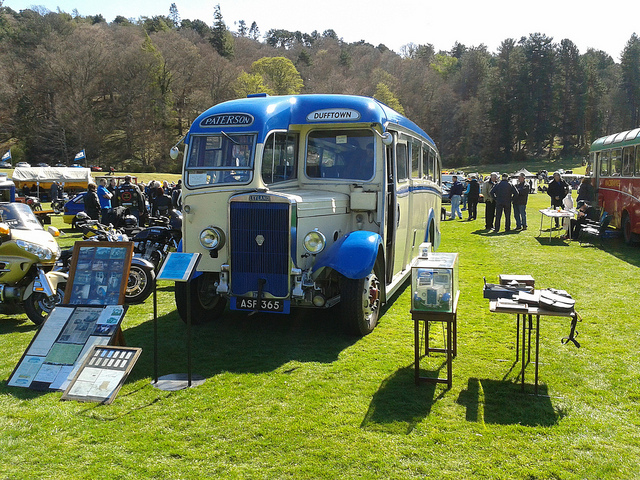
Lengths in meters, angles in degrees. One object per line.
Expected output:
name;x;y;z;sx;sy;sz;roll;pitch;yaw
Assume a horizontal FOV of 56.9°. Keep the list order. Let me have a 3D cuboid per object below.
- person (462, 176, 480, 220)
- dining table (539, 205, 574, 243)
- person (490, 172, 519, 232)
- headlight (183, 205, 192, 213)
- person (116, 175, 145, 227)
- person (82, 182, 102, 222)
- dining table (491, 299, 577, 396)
person;7.068;-1.973;27.374;0.828;2.116;0.847;5;-7;-13
dining table;8.097;-0.310;20.067;0.886;0.828;1.686;1;5;6
person;7.059;-1.457;22.638;0.927;2.253;1.207;3;14;14
headlight;-2.203;-0.528;9.910;0.113;0.123;0.028;-2;-8;12
person;-6.806;-1.265;21.136;0.969;2.394;0.585;3;35;-12
person;-8.033;-1.413;20.898;0.527;1.281;1.522;-5;15;-21
dining table;2.814;1.472;8.180;1.116;1.120;1.178;7;-11;17
